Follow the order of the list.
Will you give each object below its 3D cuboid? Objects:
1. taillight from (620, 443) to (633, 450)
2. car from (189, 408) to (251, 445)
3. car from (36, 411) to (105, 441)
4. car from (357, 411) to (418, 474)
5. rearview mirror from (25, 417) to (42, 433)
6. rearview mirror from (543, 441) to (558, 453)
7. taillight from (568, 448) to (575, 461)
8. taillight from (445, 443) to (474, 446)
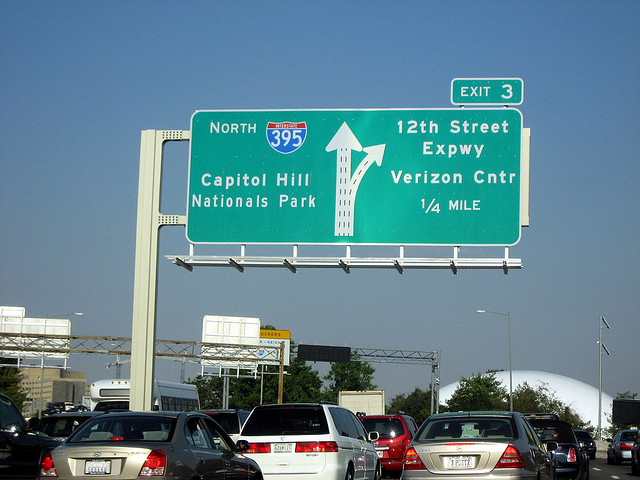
[{"bbox_3d":[13.093,8.883,57.559,0.210,0.278,0.719,6,-13,-24],"label":"taillight"},{"bbox_3d":[-2.757,5.520,40.357,1.032,1.060,1.900,-1,-4,20],"label":"car"},{"bbox_3d":[-6.786,5.067,36.230,0.923,0.865,1.700,0,-17,1],"label":"car"},{"bbox_3d":[2.398,6.995,45.831,1.558,1.708,3.058,-1,-11,8],"label":"car"},{"bbox_3d":[-7.652,4.934,35.723,0.239,0.462,0.208,4,-3,10],"label":"rearview mirror"},{"bbox_3d":[6.211,5.606,36.213,0.352,0.338,0.674,-1,-12,9],"label":"rearview mirror"},{"bbox_3d":[7.784,6.691,41.564,0.172,0.357,0.070,0,-3,8],"label":"taillight"},{"bbox_3d":[3.444,5.043,32.982,0.641,0.067,0.110,1,-11,3],"label":"taillight"}]
